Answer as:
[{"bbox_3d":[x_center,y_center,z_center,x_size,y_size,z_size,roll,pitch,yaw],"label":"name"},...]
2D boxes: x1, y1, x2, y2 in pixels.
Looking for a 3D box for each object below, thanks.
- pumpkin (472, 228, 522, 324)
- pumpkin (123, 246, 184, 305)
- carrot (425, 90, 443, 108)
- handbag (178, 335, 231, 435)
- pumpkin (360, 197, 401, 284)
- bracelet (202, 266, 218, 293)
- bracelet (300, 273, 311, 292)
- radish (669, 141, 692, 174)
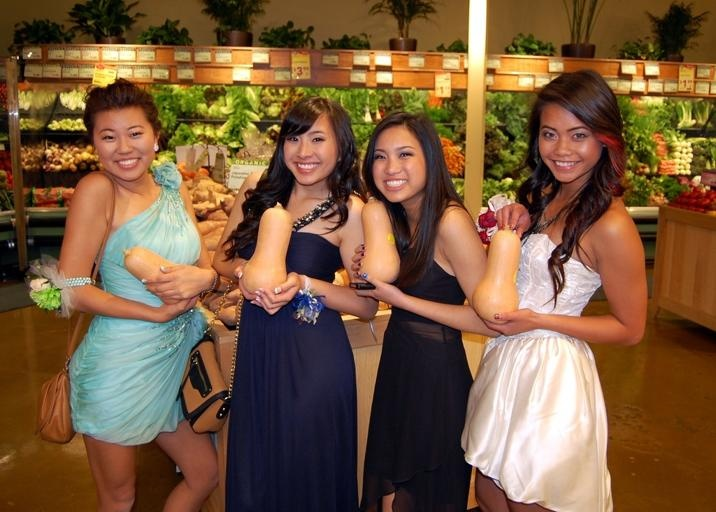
[{"bbox_3d":[0.534,0.077,1.959,0.191,0.338,0.141,1,9,3],"label":"pumpkin"},{"bbox_3d":[-0.824,0.086,2.114,0.217,0.105,0.102,34,-22,-6],"label":"pumpkin"},{"bbox_3d":[0.910,-1.876,6.181,0.165,0.179,0.472,3,9,16],"label":"carrot"},{"bbox_3d":[-0.692,0.586,2.314,0.164,0.275,0.404,10,39,-31],"label":"handbag"},{"bbox_3d":[0.083,-0.052,2.094,0.161,0.332,0.147,3,9,17],"label":"pumpkin"},{"bbox_3d":[-0.641,0.109,2.310,0.022,0.100,0.095,12,-18,-19],"label":"bracelet"},{"bbox_3d":[-0.217,0.111,2.154,0.016,0.058,0.041,-18,-11,21],"label":"bracelet"},{"bbox_3d":[4.329,-1.296,6.978,0.271,0.465,0.157,0,7,4],"label":"radish"}]
